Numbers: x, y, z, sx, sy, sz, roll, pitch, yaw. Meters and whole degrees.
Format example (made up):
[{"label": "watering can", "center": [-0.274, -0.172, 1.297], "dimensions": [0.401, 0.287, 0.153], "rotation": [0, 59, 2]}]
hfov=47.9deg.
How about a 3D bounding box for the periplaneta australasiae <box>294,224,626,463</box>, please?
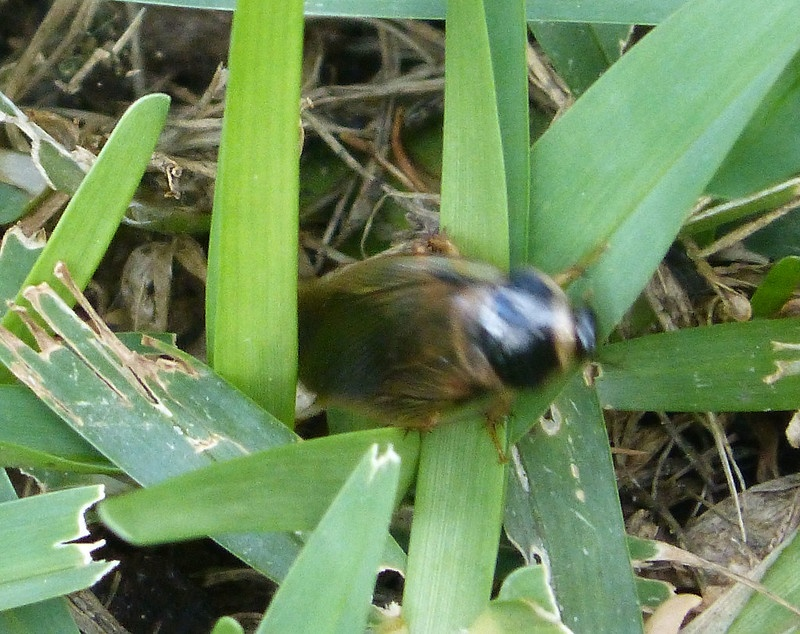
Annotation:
[{"label": "periplaneta australasiae", "center": [0.024, 0.021, 0.734], "dimensions": [0.270, 0.086, 0.205], "rotation": [2, 74, 10]}]
